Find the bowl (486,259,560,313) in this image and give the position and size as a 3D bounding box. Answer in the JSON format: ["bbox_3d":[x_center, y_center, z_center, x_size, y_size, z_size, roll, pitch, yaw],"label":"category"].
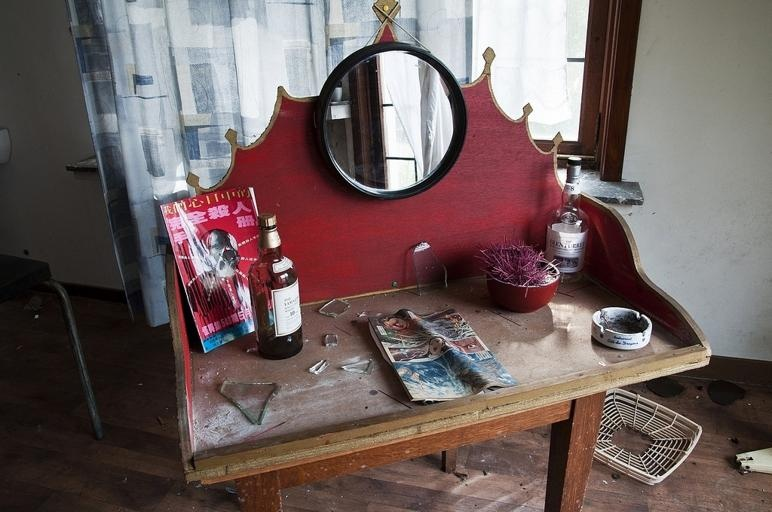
[{"bbox_3d":[0.480,0.106,1.860,0.253,0.112,0.231,-2,23,1],"label":"bowl"}]

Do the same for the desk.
[{"bbox_3d":[0.199,0.634,2.347,1.916,1.556,1.008,-5,49,-6],"label":"desk"}]
